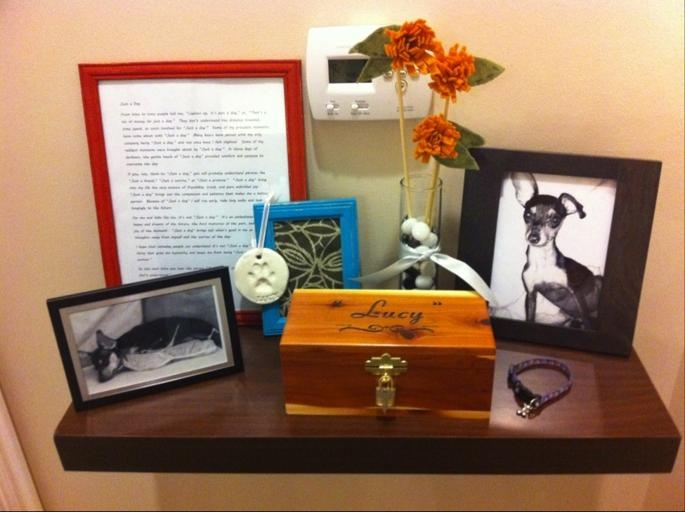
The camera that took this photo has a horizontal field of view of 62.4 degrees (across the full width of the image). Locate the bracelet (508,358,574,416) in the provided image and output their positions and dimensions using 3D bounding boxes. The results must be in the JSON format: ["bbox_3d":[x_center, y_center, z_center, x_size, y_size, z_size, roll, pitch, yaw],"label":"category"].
[{"bbox_3d":[0.377,0.254,1.102,0.116,0.039,0.163,6,31,31],"label":"bracelet"}]

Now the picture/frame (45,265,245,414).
[{"bbox_3d":[-0.367,0.164,1.108,0.316,0.211,0.022,-11,15,-6],"label":"picture/frame"}]

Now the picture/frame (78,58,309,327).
[{"bbox_3d":[-0.295,-0.146,1.155,0.592,0.722,0.031,0,16,-3],"label":"picture/frame"}]

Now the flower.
[{"bbox_3d":[0.153,-0.241,1.081,0.245,0.378,0.206,-11,19,-25],"label":"flower"}]

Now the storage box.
[{"bbox_3d":[0.090,0.190,1.116,0.401,0.165,0.222,1,26,9],"label":"storage box"}]

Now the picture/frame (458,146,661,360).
[{"bbox_3d":[0.421,-0.014,1.115,0.443,0.469,0.032,3,12,13],"label":"picture/frame"}]
